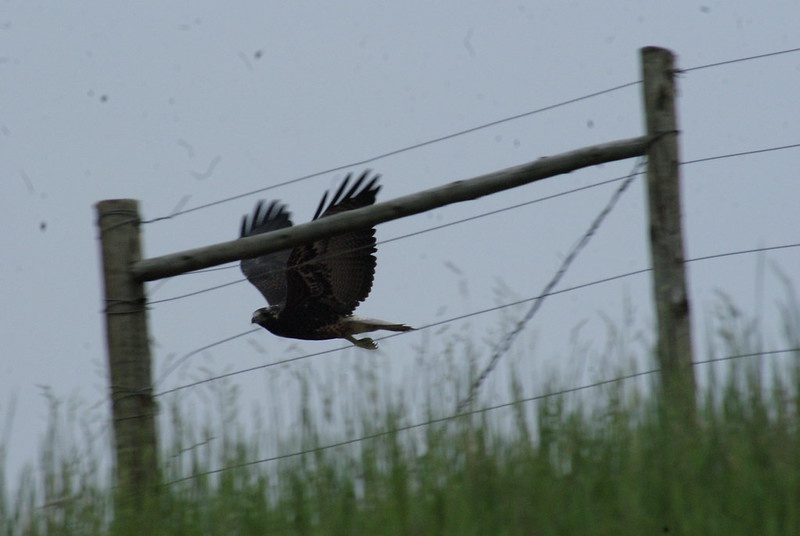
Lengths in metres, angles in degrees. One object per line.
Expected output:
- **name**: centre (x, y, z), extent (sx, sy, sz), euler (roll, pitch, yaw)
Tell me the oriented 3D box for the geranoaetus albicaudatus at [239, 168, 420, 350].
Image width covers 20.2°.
- **geranoaetus albicaudatus**: centre (-0.417, -0.041, 11.905), extent (0.801, 0.978, 1.626), euler (-2, -8, -4)
